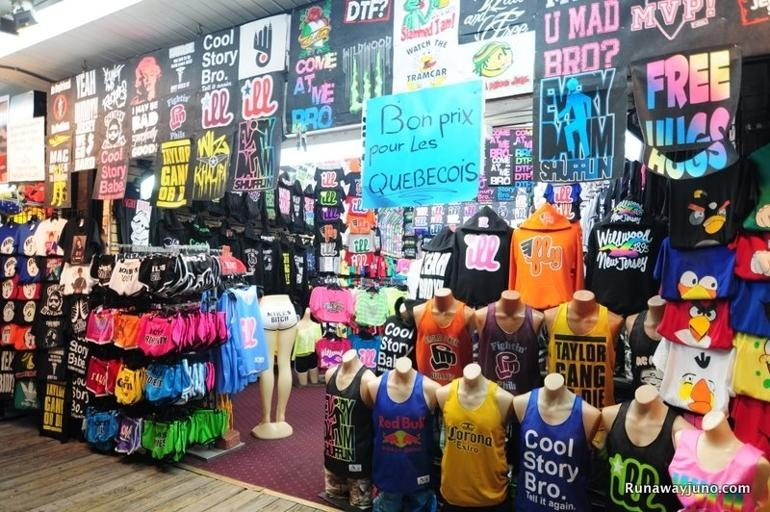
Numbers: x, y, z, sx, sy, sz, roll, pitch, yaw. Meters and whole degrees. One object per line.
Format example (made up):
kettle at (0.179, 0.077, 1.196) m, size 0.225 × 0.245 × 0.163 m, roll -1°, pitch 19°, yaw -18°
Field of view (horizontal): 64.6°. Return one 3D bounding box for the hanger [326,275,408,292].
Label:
hanger at (-0.250, 0.376, 8.291) m, size 0.850 × 0.100 × 0.219 m, roll 5°, pitch 10°, yaw 11°

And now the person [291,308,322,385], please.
person at (-1.032, 1.215, 8.068) m, size 0.479 × 1.006 × 0.285 m, roll -7°, pitch 14°, yaw -33°

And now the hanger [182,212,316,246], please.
hanger at (-1.946, -0.384, 8.414) m, size 1.533 × 0.148 × 0.547 m, roll 1°, pitch 14°, yaw -42°
